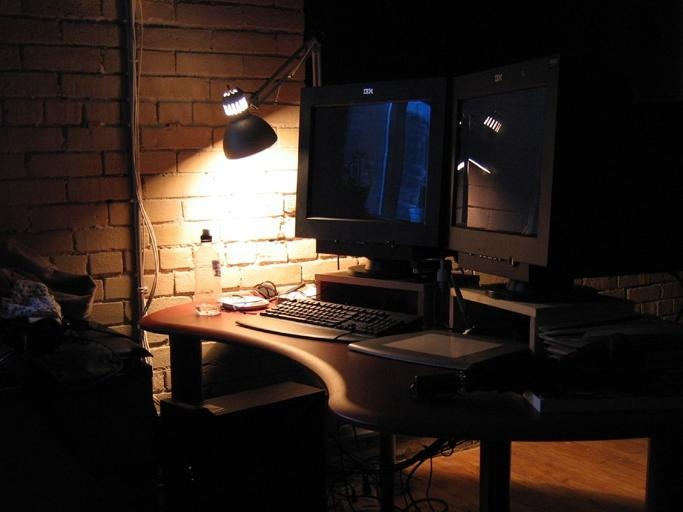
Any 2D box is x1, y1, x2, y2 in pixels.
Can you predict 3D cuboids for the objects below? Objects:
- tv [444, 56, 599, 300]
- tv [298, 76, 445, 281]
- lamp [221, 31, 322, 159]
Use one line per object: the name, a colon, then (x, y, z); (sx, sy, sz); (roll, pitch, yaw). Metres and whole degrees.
tv: (0.533, -0.234, 1.837); (0.165, 0.682, 0.438); (0, 2, -32)
tv: (0.110, -0.295, 2.136); (0.560, 0.623, 0.127); (2, 2, 25)
lamp: (-0.244, -0.589, 2.194); (0.519, 0.287, 0.177); (-32, 34, -28)
